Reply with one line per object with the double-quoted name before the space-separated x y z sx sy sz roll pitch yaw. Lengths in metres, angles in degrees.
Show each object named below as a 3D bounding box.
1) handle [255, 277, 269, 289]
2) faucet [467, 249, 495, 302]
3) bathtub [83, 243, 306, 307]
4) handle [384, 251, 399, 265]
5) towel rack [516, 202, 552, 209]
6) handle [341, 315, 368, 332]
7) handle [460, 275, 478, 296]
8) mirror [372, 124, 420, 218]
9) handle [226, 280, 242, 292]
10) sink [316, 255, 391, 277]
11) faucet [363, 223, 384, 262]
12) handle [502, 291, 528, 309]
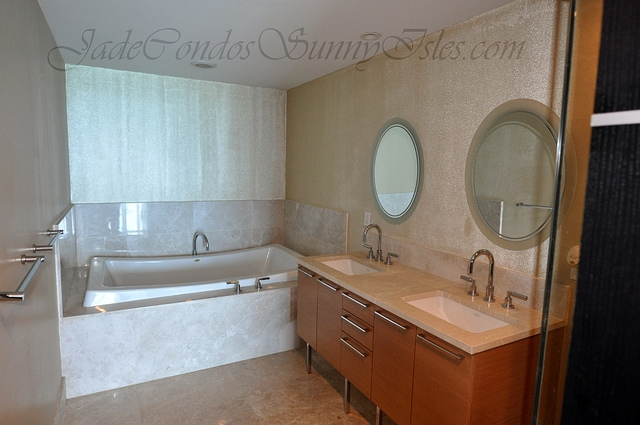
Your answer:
"handle" -0.554 0.673 4.357 0.064 0.082 0.183 0 10 18
"faucet" 1.081 0.423 3.080 0.185 0.361 0.156 -2 11 5
"bathtub" -1.212 0.649 4.709 2.116 0.444 1.253 -7 10 -22
"handle" 0.589 0.392 3.814 0.117 0.091 0.079 3 4 45
"towel rack" 1.428 -0.058 3.019 0.053 0.023 0.195 12 -1 -36
"handle" 0.260 0.804 3.292 0.013 0.063 0.311 44 -15 -35
"handle" 1.028 0.509 3.166 0.078 0.098 0.138 -5 13 -3
"mirror" 0.666 -0.364 3.893 0.066 0.948 0.817 -1 2 -25
"handle" -0.810 0.671 4.217 0.078 0.142 0.129 -2 15 -31
"sink" 0.310 0.478 3.915 0.650 0.155 0.251 3 12 36
"faucet" 0.466 0.244 3.961 0.165 0.323 0.458 -2 10 7
"handle" 1.270 0.567 2.996 0.088 0.110 0.162 -4 5 -25
